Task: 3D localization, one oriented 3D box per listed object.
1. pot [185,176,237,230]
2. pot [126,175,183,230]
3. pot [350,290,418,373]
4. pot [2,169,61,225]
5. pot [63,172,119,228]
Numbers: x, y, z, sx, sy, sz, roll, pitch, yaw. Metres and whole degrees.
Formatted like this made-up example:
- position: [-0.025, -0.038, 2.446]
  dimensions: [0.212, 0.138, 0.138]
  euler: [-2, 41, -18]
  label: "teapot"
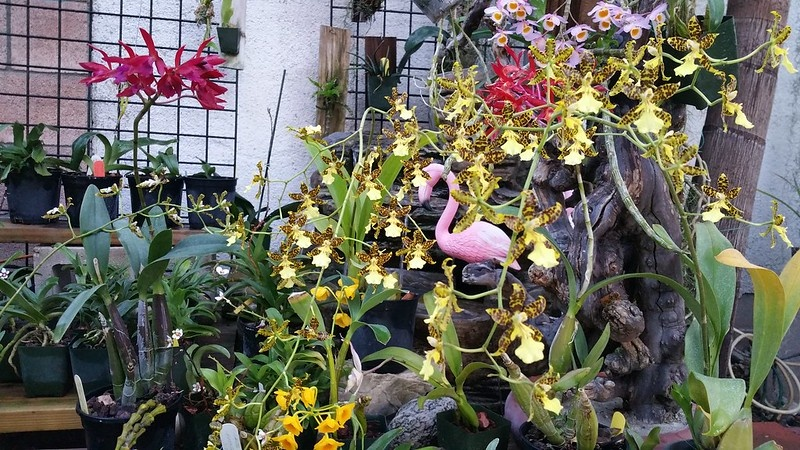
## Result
- position: [-0.850, -0.101, 3.504]
  dimensions: [0.287, 0.287, 0.296]
  euler: [0, -2, 0]
  label: "pot"
- position: [-1.086, -0.078, 3.478]
  dimensions: [0.303, 0.239, 0.308]
  euler: [0, -1, 0]
  label: "pot"
- position: [-0.039, 0.413, 3.096]
  dimensions: [0.274, 0.284, 0.271]
  euler: [1, 3, 0]
  label: "pot"
- position: [-1.604, -0.120, 3.553]
  dimensions: [0.287, 0.260, 0.311]
  euler: [0, -3, 0]
  label: "pot"
- position: [-1.353, -0.097, 3.511]
  dimensions: [0.288, 0.245, 0.325]
  euler: [0, -2, 4]
  label: "pot"
